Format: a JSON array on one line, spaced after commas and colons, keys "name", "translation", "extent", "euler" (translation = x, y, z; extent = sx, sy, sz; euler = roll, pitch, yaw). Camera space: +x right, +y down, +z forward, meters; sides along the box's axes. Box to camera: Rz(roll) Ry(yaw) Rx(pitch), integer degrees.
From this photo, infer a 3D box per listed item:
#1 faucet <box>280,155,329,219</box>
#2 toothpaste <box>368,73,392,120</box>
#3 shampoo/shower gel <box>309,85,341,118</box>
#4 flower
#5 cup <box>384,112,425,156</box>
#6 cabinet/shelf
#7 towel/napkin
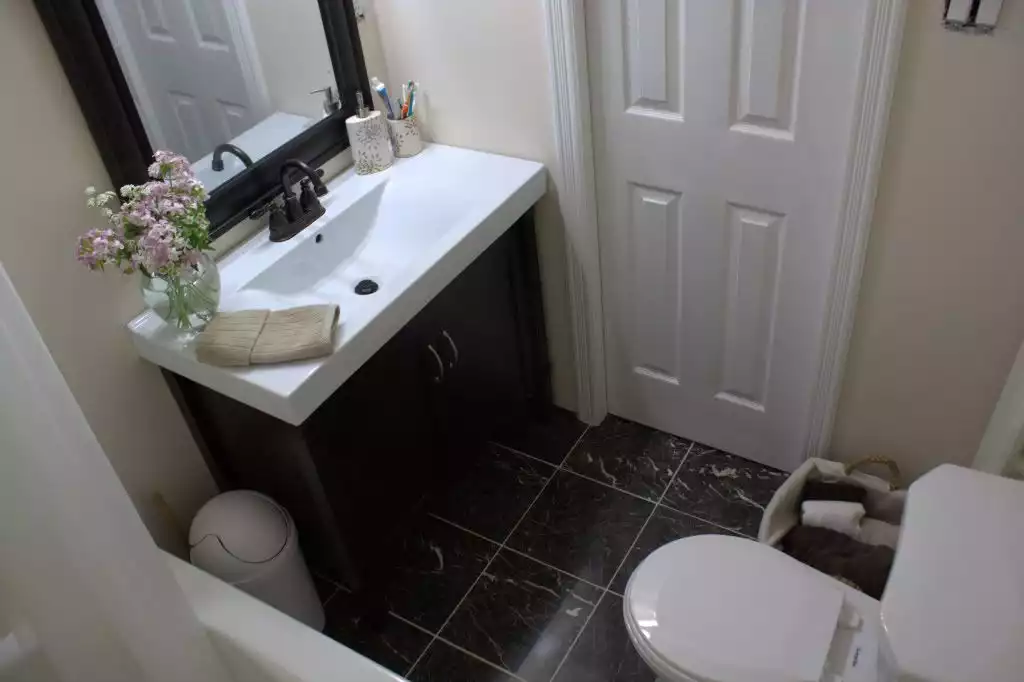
[{"name": "faucet", "translation": [-0.703, -0.511, 2.270], "extent": [0.142, 0.160, 0.132], "euler": [28, 52, 22]}, {"name": "toothpaste", "translation": [-0.458, -0.869, 2.431], "extent": [0.043, 0.050, 0.188], "euler": [-23, 81, 2]}, {"name": "shampoo/shower gel", "translation": [-0.637, -0.830, 2.351], "extent": [0.096, 0.099, 0.055], "euler": [-30, 53, -28]}, {"name": "flower", "translation": [-1.001, -0.271, 1.909], "extent": [0.319, 0.456, 0.283], "euler": [-11, 40, -8]}, {"name": "cup", "translation": [-0.391, -0.755, 2.506], "extent": [0.121, 0.147, 0.136], "euler": [2, 46, 25]}, {"name": "cabinet/shelf", "translation": [-0.404, 0.114, 2.468], "extent": [0.492, 1.025, 1.229], "euler": [18, 44, 29]}, {"name": "towel/napkin", "translation": [-0.679, -0.014, 1.899], "extent": [0.304, 0.059, 0.213], "euler": [-1, 47, 2]}]
